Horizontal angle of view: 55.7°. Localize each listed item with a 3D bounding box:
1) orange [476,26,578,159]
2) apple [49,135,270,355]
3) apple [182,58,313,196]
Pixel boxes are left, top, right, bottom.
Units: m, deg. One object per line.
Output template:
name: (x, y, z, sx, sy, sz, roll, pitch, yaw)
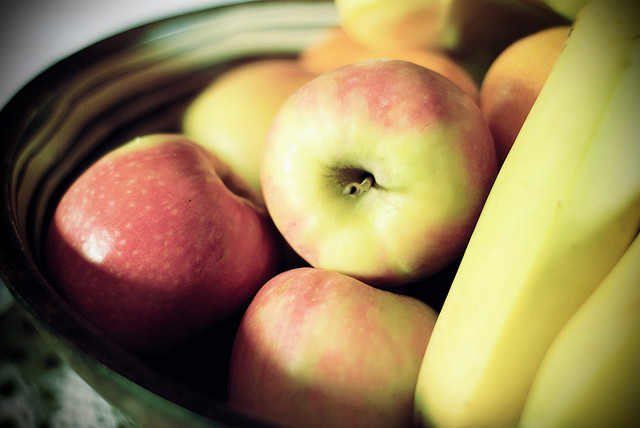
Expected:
orange: (0.186, -0.112, 0.575, 0.064, 0.083, 0.066, 18, 1, -2)
apple: (-0.130, 0.026, 0.574, 0.161, 0.184, 0.165, -34, 13, -16)
apple: (-0.080, -0.079, 0.641, 0.138, 0.128, 0.122, -11, 6, 18)
